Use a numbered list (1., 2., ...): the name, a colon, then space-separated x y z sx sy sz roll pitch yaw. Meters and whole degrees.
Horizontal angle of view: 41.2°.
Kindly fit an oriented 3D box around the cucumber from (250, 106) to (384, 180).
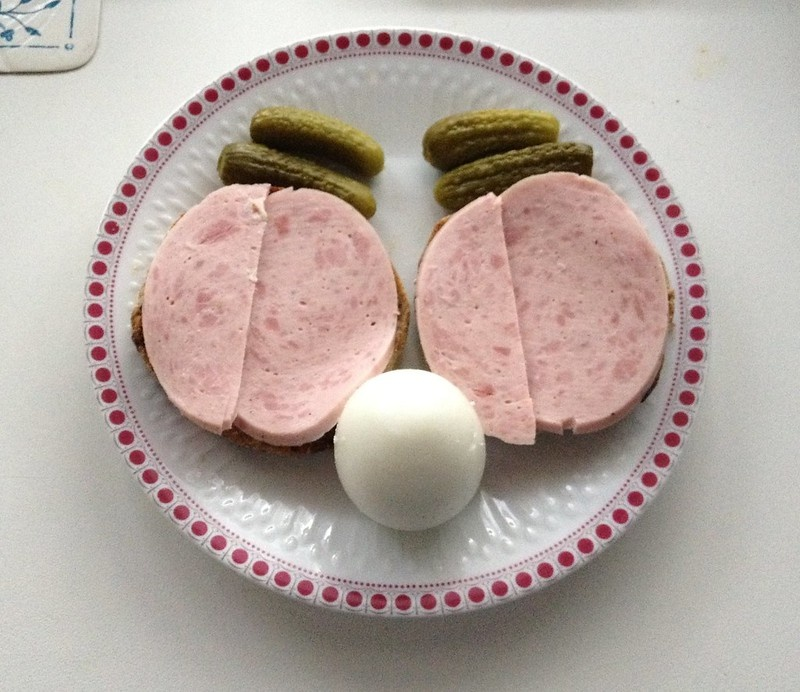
1. cucumber: -0.237 -0.586 3.055 0.390 0.138 0.186 14 -104 -6

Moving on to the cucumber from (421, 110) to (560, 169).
1. cucumber: 0.260 -0.572 2.960 0.339 0.178 0.160 -6 -45 5
